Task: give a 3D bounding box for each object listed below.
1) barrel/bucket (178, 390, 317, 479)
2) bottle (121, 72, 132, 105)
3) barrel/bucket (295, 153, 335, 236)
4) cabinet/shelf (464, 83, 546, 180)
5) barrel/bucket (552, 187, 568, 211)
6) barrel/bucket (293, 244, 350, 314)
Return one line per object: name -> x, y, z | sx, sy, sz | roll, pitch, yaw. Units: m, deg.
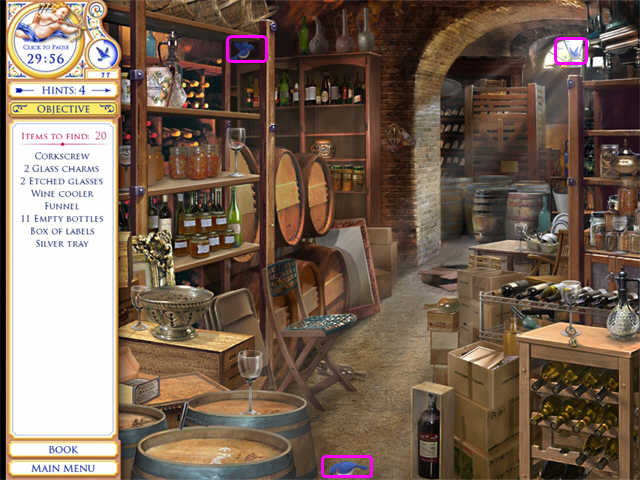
barrel/bucket -> -0.252, 0.687, 2.234 | 0.407, 0.350, 0.387 | 0, 5, 0
bottle -> -1.000, -0.775, 3.076 | 0.051, 0.139, 0.059 | -5, 10, -7
barrel/bucket -> -0.015, -0.416, 5.419 | 0.503, 0.649, 0.661 | 1, 6, 2
cabinet/shelf -> 4.203, -2.426, 13.365 | 1.842, 2.060, 1.475 | 4, 13, 37
barrel/bucket -> 3.464, -0.564, 8.548 | 0.277, 0.252, 0.255 | -1, 3, 0
barrel/bucket -> 0.074, 0.375, 5.452 | 0.535, 0.636, 0.631 | -4, 13, -13
